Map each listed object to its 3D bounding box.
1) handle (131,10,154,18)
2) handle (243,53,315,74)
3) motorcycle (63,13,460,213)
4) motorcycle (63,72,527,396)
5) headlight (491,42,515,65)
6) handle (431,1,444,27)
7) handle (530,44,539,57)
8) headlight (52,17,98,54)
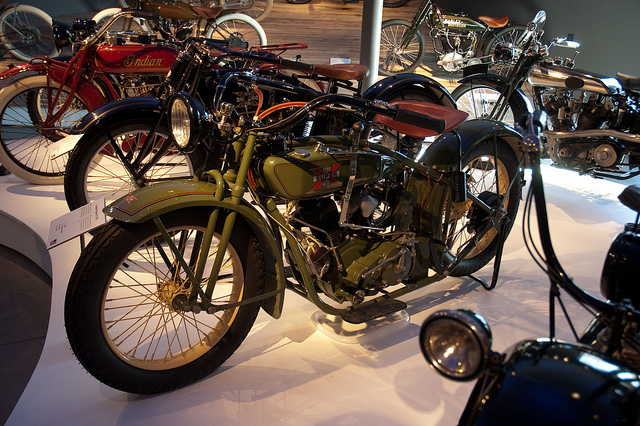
[{"bbox_3d":[-1.265,-1.405,3.380,0.041,0.042,0.157,-17,-1,31],"label":"handle"},{"bbox_3d":[-0.298,-1.113,3.523,0.683,0.120,0.100,-14,28,-41],"label":"handle"},{"bbox_3d":[-0.367,-0.751,3.738,2.997,1.498,1.618,-6,24,-20],"label":"motorcycle"},{"bbox_3d":[0.079,-0.056,3.251,3.180,1.521,1.478,-12,24,-27],"label":"motorcycle"},{"bbox_3d":[2.511,-2.188,6.457,0.234,0.249,0.653,9,21,11],"label":"headlight"},{"bbox_3d":[1.653,-2.752,6.601,0.188,0.279,0.082,10,21,11],"label":"handle"},{"bbox_3d":[1.849,-1.396,4.078,0.038,0.039,0.135,-4,35,30],"label":"handle"},{"bbox_3d":[-1.978,-1.432,3.797,0.319,0.223,0.161,1,21,-12],"label":"headlight"}]
